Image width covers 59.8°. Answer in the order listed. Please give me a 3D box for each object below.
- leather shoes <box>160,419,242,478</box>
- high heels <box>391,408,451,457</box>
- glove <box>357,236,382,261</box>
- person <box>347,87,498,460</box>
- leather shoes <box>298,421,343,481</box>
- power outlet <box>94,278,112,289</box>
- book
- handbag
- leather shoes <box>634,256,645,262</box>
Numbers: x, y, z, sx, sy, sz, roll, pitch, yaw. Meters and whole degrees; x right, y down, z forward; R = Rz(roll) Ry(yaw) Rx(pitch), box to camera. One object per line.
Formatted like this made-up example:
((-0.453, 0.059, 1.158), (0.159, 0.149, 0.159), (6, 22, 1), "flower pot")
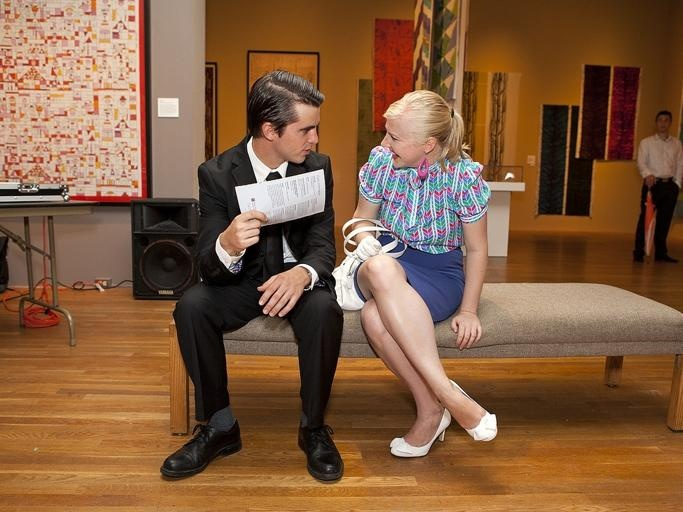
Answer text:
((-0.547, 0.759, 2.345), (0.124, 0.135, 0.322), (18, 21, 40), "leather shoes")
((0.301, 0.716, 2.466), (0.290, 0.154, 0.135), (-6, 9, -19), "high heels")
((0.105, -0.037, 2.371), (0.099, 0.074, 0.046), (-10, -20, 33), "glove")
((0.315, 0.066, 2.448), (0.724, 1.461, 0.557), (4, 9, 20), "person")
((-0.083, 0.751, 2.289), (0.103, 0.104, 0.245), (-3, 10, -16), "leather shoes")
((-1.817, 0.219, 4.583), (0.130, 0.071, 0.093), (1, -13, 17), "power outlet")
((-0.245, -0.227, 2.222), (0.237, 0.138, 0.018), (-13, 18, -21), "book")
((0.092, 0.024, 2.599), (0.405, 0.392, 0.295), (4, 12, 9), "handbag")
((3.162, 0.036, 6.396), (0.094, 0.047, 0.144), (3, 3, 27), "leather shoes")
